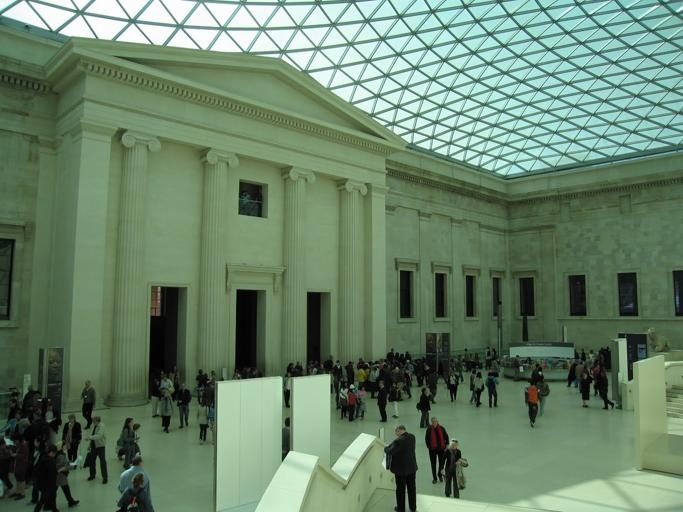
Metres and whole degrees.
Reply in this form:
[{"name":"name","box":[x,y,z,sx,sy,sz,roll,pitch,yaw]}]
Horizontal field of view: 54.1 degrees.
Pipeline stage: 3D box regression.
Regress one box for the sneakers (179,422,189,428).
[{"name":"sneakers","box":[-5.891,6.345,24.918,0.280,0.296,0.127,10,-14,-30]}]

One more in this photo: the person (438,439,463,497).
[{"name":"person","box":[3.321,6.377,20.132,0.502,1.714,0.845,-1,-8,6]}]

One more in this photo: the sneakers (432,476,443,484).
[{"name":"sneakers","box":[3.030,7.051,20.944,0.366,0.282,0.135,16,-20,-31]}]

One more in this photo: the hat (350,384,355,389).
[{"name":"hat","box":[0.424,5.254,26.735,0.196,0.167,0.200,2,-5,-25]}]
